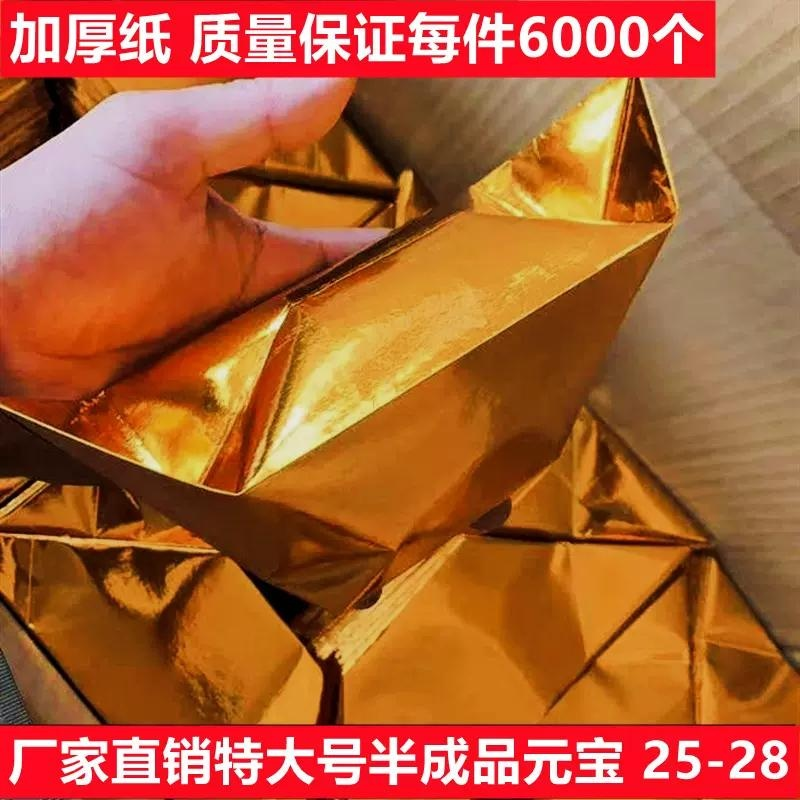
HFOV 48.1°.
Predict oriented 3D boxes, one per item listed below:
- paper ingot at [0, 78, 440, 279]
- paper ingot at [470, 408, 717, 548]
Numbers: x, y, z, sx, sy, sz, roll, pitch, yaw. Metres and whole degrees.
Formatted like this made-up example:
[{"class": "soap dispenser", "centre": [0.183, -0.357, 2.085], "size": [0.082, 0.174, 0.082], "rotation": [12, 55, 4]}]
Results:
[{"class": "paper ingot", "centre": [-0.099, -0.143, 0.545], "size": [0.187, 0.053, 0.156], "rotation": [-16, 51, -30]}, {"class": "paper ingot", "centre": [0.121, 0.066, 0.553], "size": [0.102, 0.033, 0.106], "rotation": [35, 68, -7]}]
